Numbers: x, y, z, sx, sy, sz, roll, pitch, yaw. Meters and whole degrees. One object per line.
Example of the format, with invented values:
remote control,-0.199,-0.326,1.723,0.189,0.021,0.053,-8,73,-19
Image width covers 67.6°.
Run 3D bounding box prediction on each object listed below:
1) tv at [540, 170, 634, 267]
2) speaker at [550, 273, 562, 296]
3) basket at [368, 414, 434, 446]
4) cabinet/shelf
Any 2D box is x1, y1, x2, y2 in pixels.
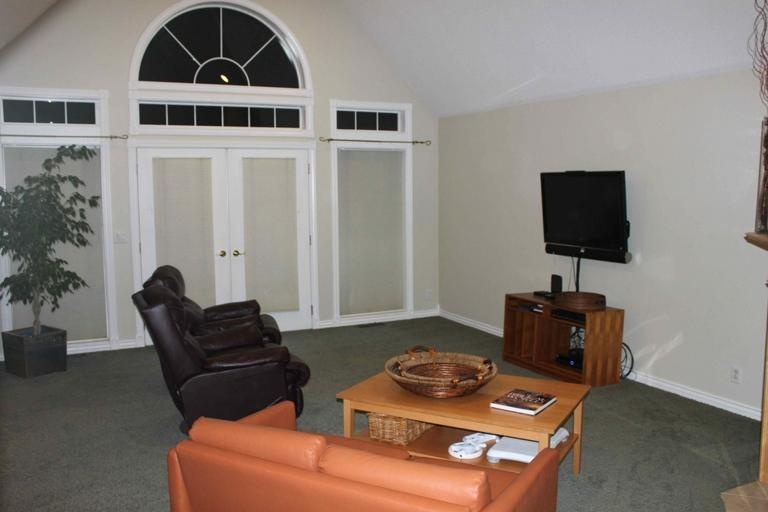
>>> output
tv,2.322,-0.459,6.447,0.145,1.005,1.090,-13,11,-33
speaker,2.067,0.335,6.815,0.183,0.258,0.209,1,3,29
basket,0.122,1.373,4.656,0.234,0.156,0.353,0,0,36
cabinet/shelf,2.046,0.935,6.336,0.346,0.581,0.943,-3,6,-29
